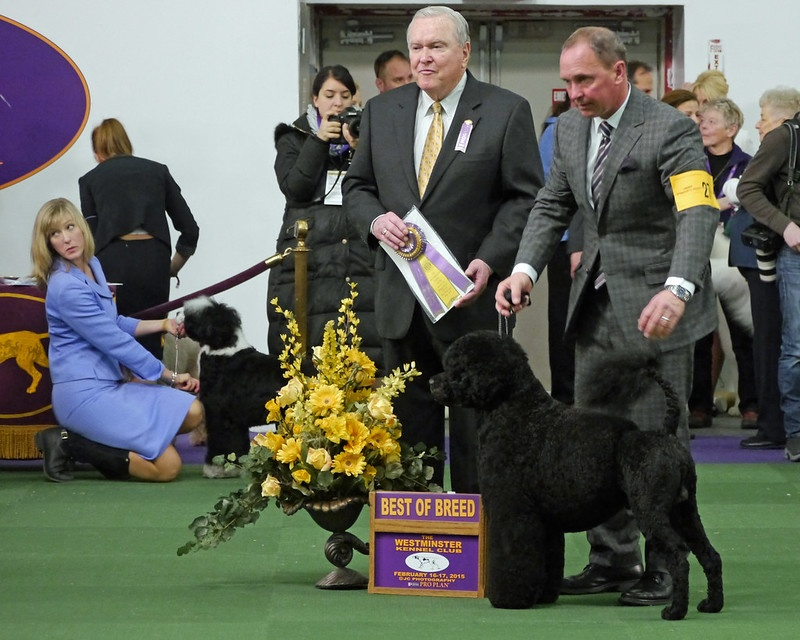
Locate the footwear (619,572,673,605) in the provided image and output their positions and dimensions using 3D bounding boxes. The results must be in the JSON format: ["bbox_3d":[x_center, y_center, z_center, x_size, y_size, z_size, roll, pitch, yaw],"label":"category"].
[{"bbox_3d":[0.816,0.881,3.475,0.080,0.075,0.178,-4,-4,41],"label":"footwear"}]

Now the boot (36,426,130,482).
[{"bbox_3d":[-1.754,0.739,5.780,0.565,0.266,0.208,1,2,-1],"label":"boot"}]

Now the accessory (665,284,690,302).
[{"bbox_3d":[0.883,-0.080,3.337,0.058,0.023,0.057,29,5,-26],"label":"accessory"}]

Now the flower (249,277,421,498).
[{"bbox_3d":[-0.270,0.241,3.747,0.726,0.762,0.706,-2,-3,-28],"label":"flower"}]

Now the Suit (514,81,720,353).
[{"bbox_3d":[0.740,-0.358,3.596,0.677,0.853,0.418,2,2,22],"label":"Suit"}]

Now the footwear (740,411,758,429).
[{"bbox_3d":[2.502,0.714,7.504,0.082,0.099,0.242,-2,-9,15],"label":"footwear"}]

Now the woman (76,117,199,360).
[{"bbox_3d":[-1.761,-0.656,7.190,0.623,0.588,1.755,-2,-43,-8],"label":"woman"}]

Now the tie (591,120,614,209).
[{"bbox_3d":[0.688,-0.547,3.586,0.057,0.348,0.060,10,-33,10],"label":"tie"}]

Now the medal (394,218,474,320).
[{"bbox_3d":[0.109,-0.209,3.947,0.234,0.402,0.135,-42,-25,24],"label":"medal"}]

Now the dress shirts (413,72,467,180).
[{"bbox_3d":[0.135,-0.778,4.071,0.137,0.512,0.069,3,3,31],"label":"dress shirts"}]

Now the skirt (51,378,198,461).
[{"bbox_3d":[-1.543,0.512,5.793,0.568,0.170,0.477,14,17,7],"label":"skirt"}]

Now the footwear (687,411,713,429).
[{"bbox_3d":[2.161,0.727,7.542,0.121,0.148,0.358,-2,-10,21],"label":"footwear"}]

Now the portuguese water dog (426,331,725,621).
[{"bbox_3d":[0.543,0.478,3.327,0.978,0.827,0.346,-3,-2,40],"label":"portuguese water dog"}]

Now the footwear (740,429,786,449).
[{"bbox_3d":[2.275,0.748,6.585,0.273,0.122,0.107,3,0,18],"label":"footwear"}]

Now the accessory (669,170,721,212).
[{"bbox_3d":[0.956,-0.417,3.419,0.148,0.136,0.095,1,2,13],"label":"accessory"}]

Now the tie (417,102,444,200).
[{"bbox_3d":[0.120,-0.648,4.063,0.091,0.376,0.030,8,-11,18],"label":"tie"}]

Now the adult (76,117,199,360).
[{"bbox_3d":[-1.764,-0.651,7.198,0.613,1.730,0.587,-5,46,-10],"label":"adult"}]

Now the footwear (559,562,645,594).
[{"bbox_3d":[0.700,0.895,3.686,0.316,0.138,0.115,1,-7,-2],"label":"footwear"}]
